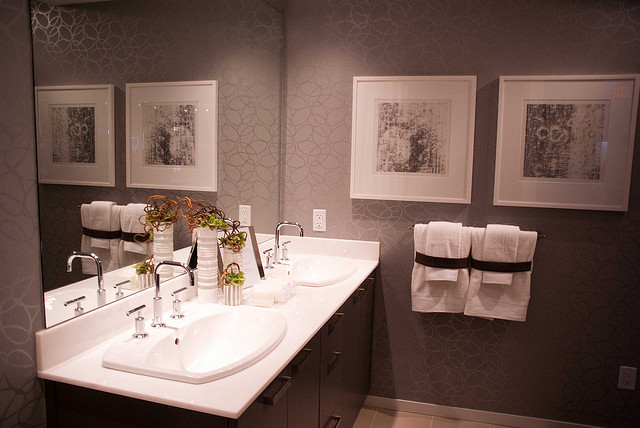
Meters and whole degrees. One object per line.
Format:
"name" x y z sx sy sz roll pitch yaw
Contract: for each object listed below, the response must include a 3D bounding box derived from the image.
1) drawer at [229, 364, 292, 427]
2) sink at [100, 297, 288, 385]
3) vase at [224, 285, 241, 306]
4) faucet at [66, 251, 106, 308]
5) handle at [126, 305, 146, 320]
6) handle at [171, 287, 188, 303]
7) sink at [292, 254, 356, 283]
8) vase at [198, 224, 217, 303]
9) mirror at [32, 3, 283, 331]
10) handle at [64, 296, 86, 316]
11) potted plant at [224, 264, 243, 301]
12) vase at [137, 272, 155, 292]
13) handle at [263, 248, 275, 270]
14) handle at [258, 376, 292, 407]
"drawer" -0.249 0.711 1.771 0.133 0.263 0.270 1 6 17
"sink" -0.508 0.618 1.969 0.756 0.207 0.497 -8 12 -41
"vase" -0.454 0.415 2.351 0.092 0.100 0.095 4 12 6
"faucet" -1.027 0.318 1.982 0.160 0.329 0.051 4 23 -14
"handle" -0.854 0.448 2.063 0.014 0.075 0.074 25 18 17
"handle" -0.719 0.405 2.261 0.027 0.098 0.089 5 8 15
"sink" -0.044 0.352 3.235 0.338 0.117 0.324 6 -4 -29
"vase" -0.599 0.255 2.362 0.095 0.386 0.120 -2 9 -11
"mirror" -0.759 -0.448 2.354 0.184 1.637 1.519 5 10 32
"handle" -1.035 0.390 1.905 0.031 0.101 0.099 4 5 26
"potted plant" -0.459 0.356 2.334 0.113 0.198 0.108 -4 6 -31
"vase" -0.858 0.328 2.201 0.072 0.083 0.084 0 7 -11
"handle" -0.345 0.294 2.948 0.064 0.122 0.101 5 9 23
"handle" -0.204 0.690 1.824 0.082 0.033 0.153 3 8 19
